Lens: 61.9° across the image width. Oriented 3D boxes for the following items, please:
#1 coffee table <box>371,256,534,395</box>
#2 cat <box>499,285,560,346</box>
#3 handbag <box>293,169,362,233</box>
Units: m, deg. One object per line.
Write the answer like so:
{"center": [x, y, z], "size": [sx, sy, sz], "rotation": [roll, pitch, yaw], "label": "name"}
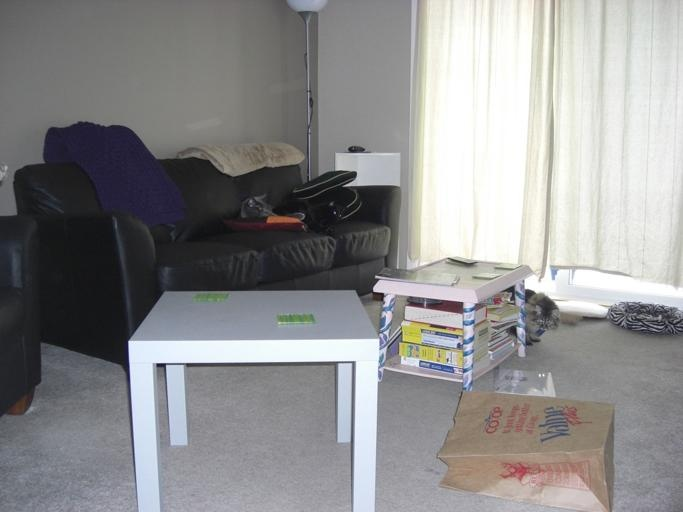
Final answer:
{"center": [0.485, 0.310, 2.590], "size": [0.486, 0.558, 0.777], "rotation": [7, 16, 35], "label": "coffee table"}
{"center": [1.072, 0.334, 3.210], "size": [0.285, 0.407, 0.143], "rotation": [3, -7, -18], "label": "cat"}
{"center": [-0.073, -0.355, 3.669], "size": [0.436, 0.173, 0.321], "rotation": [-34, 18, -28], "label": "handbag"}
